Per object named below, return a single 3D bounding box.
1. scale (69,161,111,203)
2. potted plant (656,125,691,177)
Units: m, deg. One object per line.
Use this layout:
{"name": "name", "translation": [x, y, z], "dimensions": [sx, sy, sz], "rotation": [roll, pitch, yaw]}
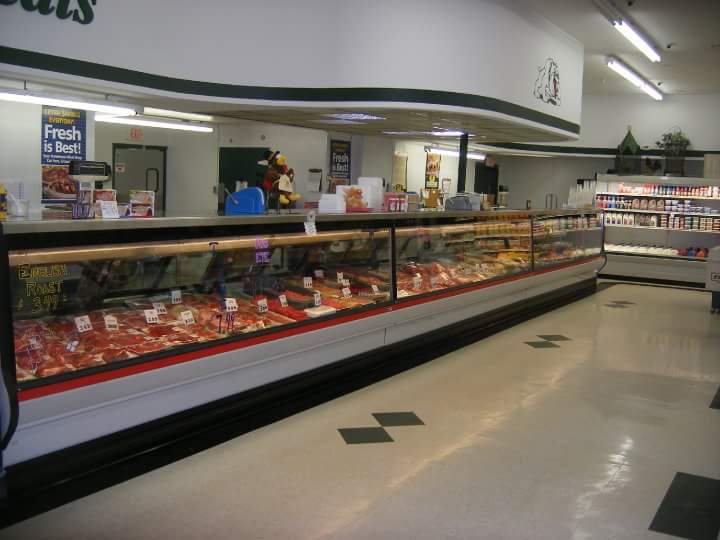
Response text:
{"name": "scale", "translation": [-2.289, -0.744, 4.017], "dimensions": [0.329, 0.317, 0.259], "rotation": [-4, 13, -35]}
{"name": "potted plant", "translation": [7.840, -2.965, 12.003], "dimensions": [0.708, 1.212, 0.865], "rotation": [8, 11, 32]}
